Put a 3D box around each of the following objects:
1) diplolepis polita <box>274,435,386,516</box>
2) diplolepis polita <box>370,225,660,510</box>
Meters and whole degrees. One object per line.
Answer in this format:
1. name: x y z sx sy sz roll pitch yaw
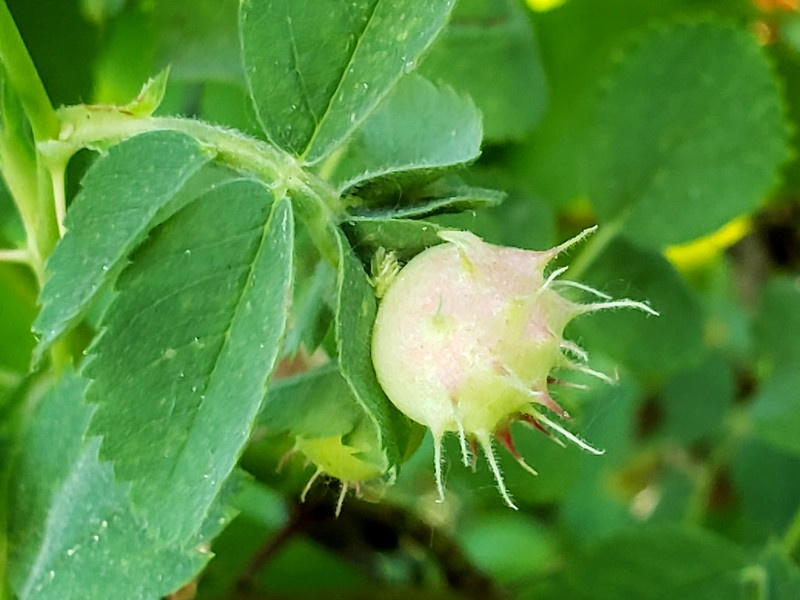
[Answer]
1. diplolepis polita: -0.044 0.119 0.631 0.061 0.052 0.094 14 -3 -1
2. diplolepis polita: 0.048 0.013 0.572 0.191 0.181 0.079 9 -24 21
